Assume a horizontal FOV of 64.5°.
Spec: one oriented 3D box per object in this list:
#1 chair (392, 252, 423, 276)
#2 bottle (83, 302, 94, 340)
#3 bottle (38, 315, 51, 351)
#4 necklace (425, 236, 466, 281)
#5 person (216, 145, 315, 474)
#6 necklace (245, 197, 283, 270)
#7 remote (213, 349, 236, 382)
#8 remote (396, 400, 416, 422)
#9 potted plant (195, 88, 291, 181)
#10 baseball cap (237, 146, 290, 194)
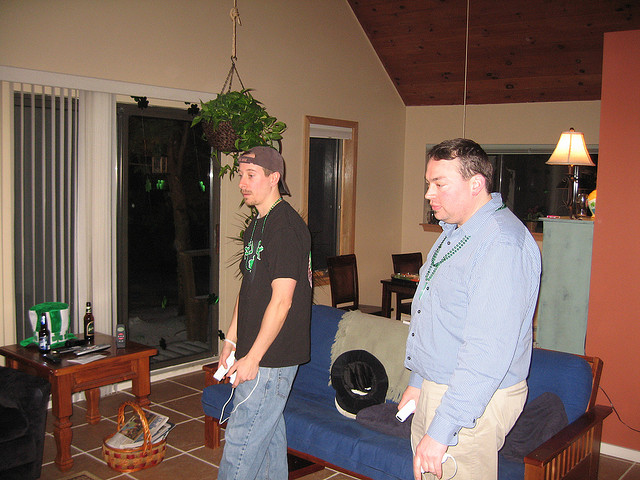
[{"bbox_3d":[1.073,0.288,6.165,0.255,0.454,0.314,0,-1,-22],"label":"chair"},{"bbox_3d":[-1.848,0.628,4.029,0.069,0.293,0.162,-3,6,-25],"label":"bottle"},{"bbox_3d":[-2.034,0.679,3.724,0.075,0.248,0.132,-3,6,-29],"label":"bottle"},{"bbox_3d":[0.504,0.054,2.032,0.014,0.236,0.076,23,5,-38],"label":"necklace"},{"bbox_3d":[-0.291,0.325,2.531,0.405,1.586,0.456,3,6,34],"label":"person"},{"bbox_3d":[-0.289,-0.034,2.607,0.115,0.355,0.177,4,7,43],"label":"necklace"},{"bbox_3d":[-0.470,0.615,2.582,0.063,0.056,0.232,26,32,-4],"label":"remote"},{"bbox_3d":[0.350,0.689,2.060,0.050,0.024,0.110,9,27,38],"label":"remote"},{"bbox_3d":[-0.596,-0.818,3.560,0.698,0.413,0.729,3,32,-29],"label":"potted plant"},{"bbox_3d":[-0.272,-0.413,2.670,0.286,0.179,0.218,7,16,-22],"label":"baseball cap"}]
